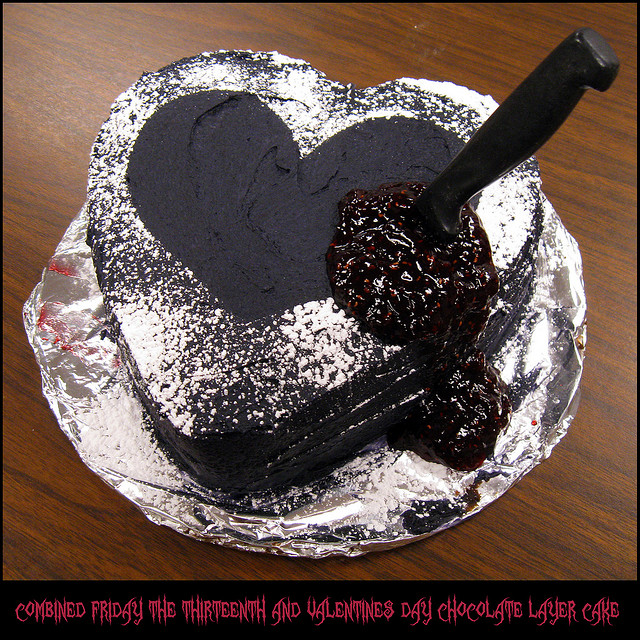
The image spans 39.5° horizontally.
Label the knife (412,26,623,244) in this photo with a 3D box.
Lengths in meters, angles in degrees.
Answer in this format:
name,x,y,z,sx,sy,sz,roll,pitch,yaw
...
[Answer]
name,x,y,z,sx,sy,sz,roll,pitch,yaw
knife,0.328,-0.309,1.567,0.384,0.345,0.113,-40,81,-7
